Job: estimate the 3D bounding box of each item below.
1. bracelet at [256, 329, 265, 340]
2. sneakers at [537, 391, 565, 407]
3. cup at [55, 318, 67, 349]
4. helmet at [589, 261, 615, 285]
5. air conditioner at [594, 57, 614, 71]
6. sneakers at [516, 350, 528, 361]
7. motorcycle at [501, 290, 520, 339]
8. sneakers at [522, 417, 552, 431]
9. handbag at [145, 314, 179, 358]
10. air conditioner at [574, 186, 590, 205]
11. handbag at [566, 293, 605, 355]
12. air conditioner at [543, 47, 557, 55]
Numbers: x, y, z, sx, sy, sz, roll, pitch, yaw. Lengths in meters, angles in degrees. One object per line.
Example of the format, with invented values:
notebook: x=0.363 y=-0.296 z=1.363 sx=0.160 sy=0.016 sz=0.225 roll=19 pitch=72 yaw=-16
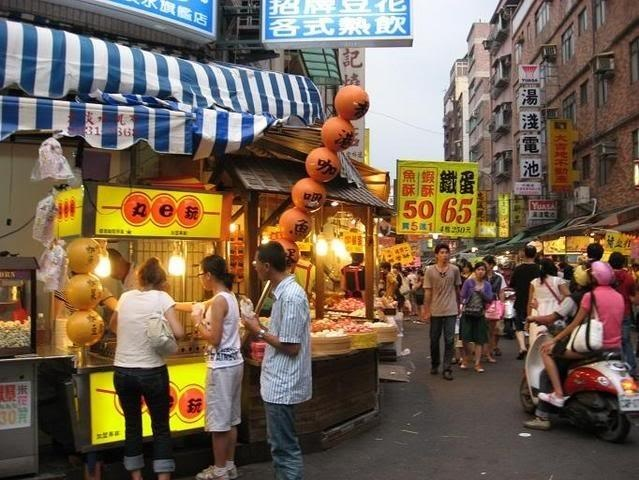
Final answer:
bracelet: x=-0.546 y=0.893 z=5.633 sx=0.053 sy=0.076 sz=0.080 roll=19 pitch=24 yaw=19
sneakers: x=3.141 y=2.139 z=8.087 sx=0.359 sy=0.164 sz=0.134 roll=19 pitch=-1 yaw=38
cup: x=-3.085 y=1.132 z=7.164 sx=0.158 sy=0.341 sz=0.311 roll=0 pitch=-1 yaw=-25
helmet: x=3.703 y=0.442 z=7.880 sx=0.242 sy=0.327 sz=0.280 roll=-7 pitch=-11 yaw=-20
air conditioner: x=10.527 y=-6.451 z=22.122 sx=0.534 sy=0.650 sz=0.675 roll=2 pitch=-1 yaw=4
sneakers: x=4.453 y=2.547 z=13.145 sx=0.146 sy=0.115 sz=0.400 roll=-4 pitch=0 yaw=11
motorcycle: x=5.525 y=2.079 z=17.355 sx=0.354 sy=1.146 sz=0.347 roll=-8 pitch=-17 yaw=30
sneakers: x=3.007 y=2.530 z=8.250 sx=0.364 sy=0.158 sz=0.158 roll=1 pitch=1 yaw=41
handbag: x=-1.645 y=0.998 z=6.234 sx=0.324 sy=0.452 sz=0.243 roll=1 pitch=19 yaw=4
air conditioner: x=10.970 y=-1.812 z=24.891 sx=0.440 sy=0.800 sz=0.824 roll=1 pitch=-1 yaw=-1
handbag: x=3.460 y=1.108 z=7.721 sx=0.240 sy=0.892 sz=0.653 roll=13 pitch=-12 yaw=-10
air conditioner: x=11.770 y=-9.598 z=30.455 sx=0.472 sy=0.292 sz=0.475 roll=0 pitch=-5 yaw=6
